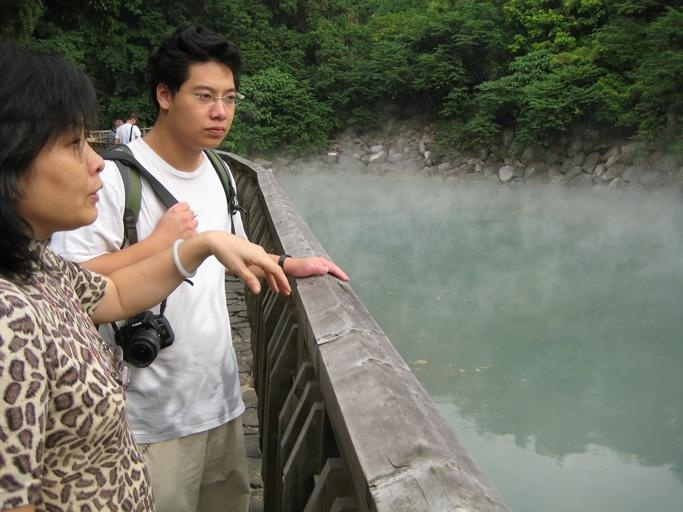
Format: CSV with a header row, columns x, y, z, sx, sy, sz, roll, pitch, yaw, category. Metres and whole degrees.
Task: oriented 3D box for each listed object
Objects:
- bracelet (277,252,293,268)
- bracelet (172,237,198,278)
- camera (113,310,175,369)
x,y,z,sx,sy,sz,roll,pitch,yaw,category
-0.197,0.010,1.921,0.033,0.045,0.048,-2,-6,7,bracelet
-0.452,0.003,1.603,0.020,0.093,0.092,-17,45,3,bracelet
-0.641,0.265,1.761,0.169,0.158,0.170,5,24,18,camera
